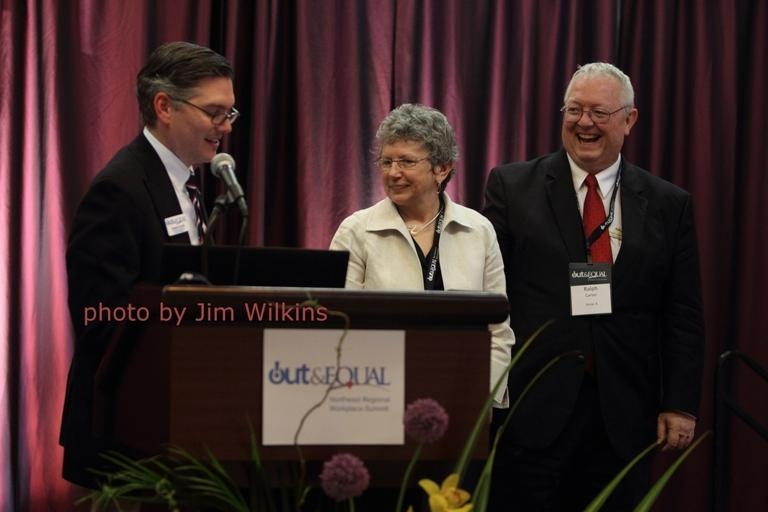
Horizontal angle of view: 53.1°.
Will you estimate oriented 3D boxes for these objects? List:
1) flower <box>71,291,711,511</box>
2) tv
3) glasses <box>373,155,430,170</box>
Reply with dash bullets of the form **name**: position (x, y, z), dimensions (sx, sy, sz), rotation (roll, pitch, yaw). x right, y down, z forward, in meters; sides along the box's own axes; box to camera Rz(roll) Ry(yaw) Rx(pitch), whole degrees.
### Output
- **flower**: position (-0.271, 0.406, 2.427), dimensions (1.331, 0.682, 0.204), rotation (-3, 0, 2)
- **tv**: position (-0.439, 0.035, 2.651), dimensions (0.644, 0.153, 0.161), rotation (-3, -1, -20)
- **glasses**: position (0.070, -0.415, 3.474), dimensions (0.243, 0.056, 0.076), rotation (-3, -1, 24)
